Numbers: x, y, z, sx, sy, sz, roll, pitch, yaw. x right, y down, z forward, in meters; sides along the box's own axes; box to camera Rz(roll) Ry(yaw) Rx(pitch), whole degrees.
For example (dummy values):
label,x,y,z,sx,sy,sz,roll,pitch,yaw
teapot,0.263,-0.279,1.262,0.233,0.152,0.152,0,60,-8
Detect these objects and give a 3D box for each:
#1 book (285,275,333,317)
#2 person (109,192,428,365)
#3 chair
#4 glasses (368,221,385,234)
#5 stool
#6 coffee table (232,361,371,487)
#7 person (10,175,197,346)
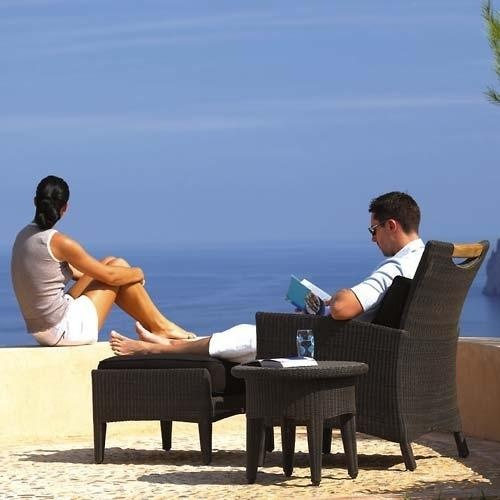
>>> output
label,x,y,z,sx,sy,sz,roll,pitch,yaw
book,0.275,0.204,5.279,0.225,0.099,0.168,28,-32,10
person,0.058,0.168,5.403,1.617,0.840,0.706,-3,-3,12
chair,0.562,0.522,5.362,1.273,1.016,1.056,-1,-7,0
glasses,0.613,-0.111,5.245,0.059,0.017,0.057,-39,7,-14
stool,-0.341,0.795,5.553,0.633,0.538,0.871,-3,-5,20
coffee table,0.066,0.791,4.870,0.712,0.525,0.708,4,-9,-28
person,-0.925,0.091,6.538,0.557,0.934,1.264,15,10,43
